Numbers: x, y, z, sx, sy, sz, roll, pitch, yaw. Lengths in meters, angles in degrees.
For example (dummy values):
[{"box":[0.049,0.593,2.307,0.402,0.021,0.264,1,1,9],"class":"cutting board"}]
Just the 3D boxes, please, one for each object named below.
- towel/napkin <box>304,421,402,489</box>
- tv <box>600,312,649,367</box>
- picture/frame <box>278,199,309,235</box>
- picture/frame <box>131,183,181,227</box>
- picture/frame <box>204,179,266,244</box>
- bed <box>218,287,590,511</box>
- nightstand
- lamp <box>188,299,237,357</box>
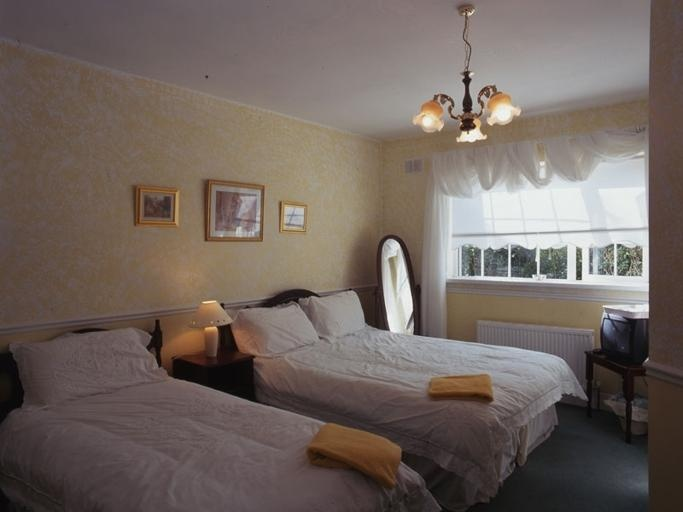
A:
[{"box":[0.079,1.205,2.960,0.541,0.186,0.364,2,11,11],"class":"towel/napkin"},{"box":[2.700,0.788,4.631,0.391,0.446,0.197,9,14,41],"class":"tv"},{"box":[-0.580,-0.462,5.598,0.039,0.368,0.403,1,1,37],"class":"picture/frame"},{"box":[-1.730,-0.475,4.426,0.032,0.406,0.401,2,2,42],"class":"picture/frame"},{"box":[-1.137,-0.478,5.001,0.064,0.626,0.672,0,0,38],"class":"picture/frame"},{"box":[0.342,1.098,4.265,2.256,0.980,1.827,-2,-1,38],"class":"bed"},{"box":[-1.167,1.026,4.576,0.534,0.740,0.486,-1,1,36],"class":"nightstand"},{"box":[-1.267,0.685,4.754,0.438,0.583,0.453,-3,3,-36],"class":"lamp"}]
